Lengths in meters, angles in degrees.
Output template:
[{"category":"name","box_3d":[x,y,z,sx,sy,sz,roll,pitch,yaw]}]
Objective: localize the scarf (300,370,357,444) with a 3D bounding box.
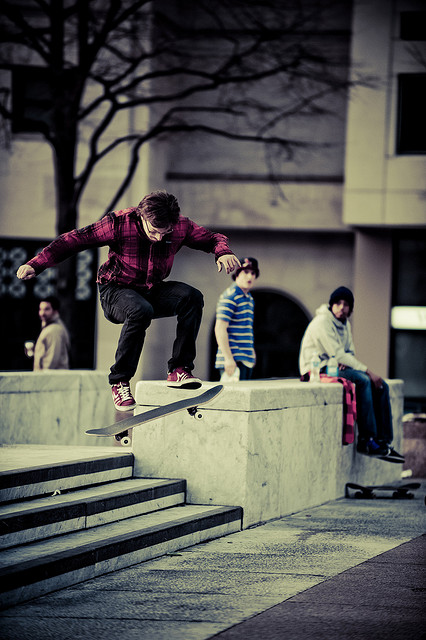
[{"category":"scarf","box_3d":[1.079,0.752,7.995,0.279,0.536,0.326,-1,10,5]}]

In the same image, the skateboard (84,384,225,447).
[{"category":"skateboard","box_3d":[-0.357,0.629,6.019,1.014,0.361,0.363,-7,11,-31]}]

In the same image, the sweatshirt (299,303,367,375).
[{"category":"sweatshirt","box_3d":[1.128,0.199,8.306,0.677,0.696,0.493,-1,-3,38]}]

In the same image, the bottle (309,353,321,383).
[{"category":"bottle","box_3d":[0.897,0.406,8.145,0.084,0.231,0.131,0,10,8]}]

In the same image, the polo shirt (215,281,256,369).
[{"category":"polo shirt","box_3d":[0.213,0.058,8.883,0.201,0.843,0.486,7,13,41]}]

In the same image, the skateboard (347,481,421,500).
[{"category":"skateboard","box_3d":[1.592,1.530,8.435,0.765,0.119,0.303,-1,7,4]}]

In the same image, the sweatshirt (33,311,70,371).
[{"category":"sweatshirt","box_3d":[-1.887,0.259,10.817,0.414,0.715,0.491,-4,10,-13]}]

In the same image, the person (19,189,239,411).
[{"category":"person","box_3d":[-0.542,-0.125,5.885,1.302,1.318,0.685,-6,8,-8]}]

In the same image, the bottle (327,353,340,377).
[{"category":"bottle","box_3d":[1.038,0.381,8.061,0.089,0.200,0.102,-1,10,4]}]

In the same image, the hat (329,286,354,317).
[{"category":"hat","box_3d":[1.146,-0.164,8.270,0.195,0.282,0.316,-1,10,6]}]

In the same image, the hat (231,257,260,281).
[{"category":"hat","box_3d":[0.322,-0.477,8.787,0.221,0.151,0.295,-2,0,-14]}]
